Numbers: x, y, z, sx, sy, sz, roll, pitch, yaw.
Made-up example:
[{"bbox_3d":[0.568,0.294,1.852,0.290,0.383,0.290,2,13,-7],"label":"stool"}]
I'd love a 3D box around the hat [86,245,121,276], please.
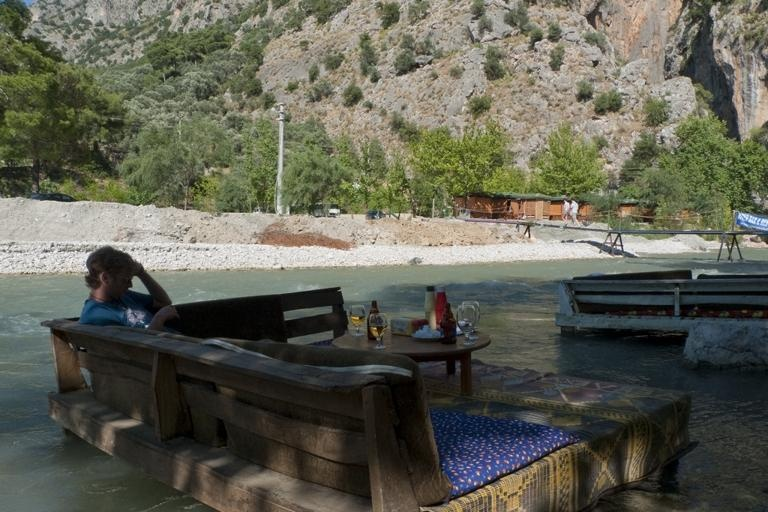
[{"bbox_3d":[-3.246,0.114,7.468,0.469,0.418,0.283,-5,6,-20],"label":"hat"}]

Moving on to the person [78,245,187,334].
[{"bbox_3d":[-2.993,0.475,7.657,1.118,0.823,1.167,5,14,-7],"label":"person"}]
